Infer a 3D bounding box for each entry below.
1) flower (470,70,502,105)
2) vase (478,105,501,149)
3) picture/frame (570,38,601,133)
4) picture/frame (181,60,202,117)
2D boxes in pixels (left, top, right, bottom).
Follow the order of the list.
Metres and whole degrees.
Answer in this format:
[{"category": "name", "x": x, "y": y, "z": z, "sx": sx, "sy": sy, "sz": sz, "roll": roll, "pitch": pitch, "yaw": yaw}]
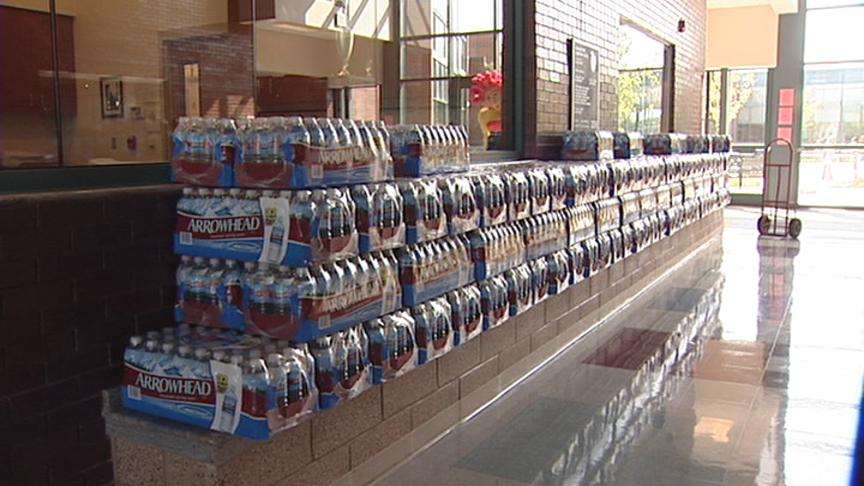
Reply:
[{"category": "flower", "x": 0.524, "y": -1.576, "z": 6.460, "sx": 0.300, "sy": 0.175, "sz": 0.309, "roll": -1, "pitch": 7, "yaw": -10}, {"category": "vase", "x": 0.590, "y": -1.250, "z": 6.703, "sx": 0.361, "sy": 0.415, "sz": 0.367, "roll": -1, "pitch": 5, "yaw": -5}, {"category": "picture/frame", "x": 1.819, "y": -1.910, "z": 7.675, "sx": 0.108, "sy": 1.444, "sz": 1.326, "roll": 0, "pitch": 5, "yaw": 28}, {"category": "picture/frame", "x": -1.458, "y": -0.905, "z": 3.858, "sx": 0.089, "sy": 0.331, "sz": 0.039, "roll": -3, "pitch": 8, "yaw": -24}]
